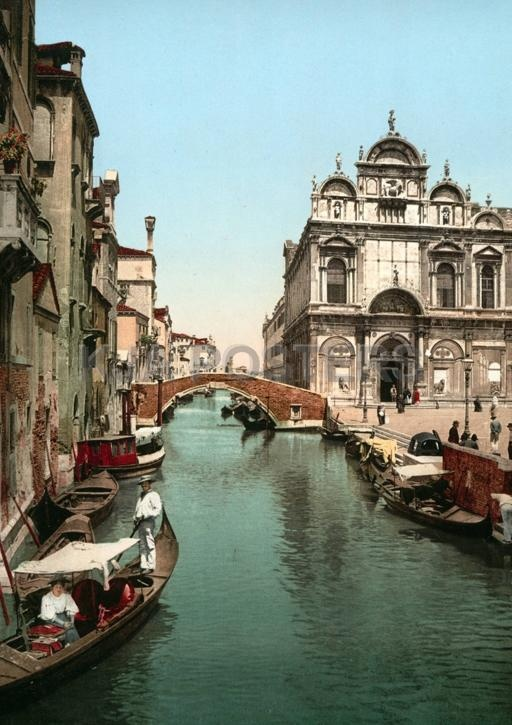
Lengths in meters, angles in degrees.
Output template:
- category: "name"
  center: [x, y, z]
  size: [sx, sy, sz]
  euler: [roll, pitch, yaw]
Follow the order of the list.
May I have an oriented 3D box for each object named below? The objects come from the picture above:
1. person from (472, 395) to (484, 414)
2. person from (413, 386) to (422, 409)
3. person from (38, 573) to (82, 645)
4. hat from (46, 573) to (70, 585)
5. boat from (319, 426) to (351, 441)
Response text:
- category: "person"
  center: [13.623, 2.638, 51.861]
  size: [0.645, 1.120, 0.755]
  euler: [-5, 8, -7]
- category: "person"
  center: [10.870, 2.222, 56.885]
  size: [0.480, 1.202, 1.261]
  euler: [1, 1, 11]
- category: "person"
  center: [-3.095, 3.949, 13.192]
  size: [0.667, 1.149, 0.646]
  euler: [-1, 7, -42]
- category: "hat"
  center: [-3.400, 3.743, 14.469]
  size: [0.442, 0.211, 0.599]
  euler: [1, -10, -7]
- category: "boat"
  center: [4.556, 4.107, 48.045]
  size: [0.987, 0.648, 4.235]
  euler: [2, 0, -5]
